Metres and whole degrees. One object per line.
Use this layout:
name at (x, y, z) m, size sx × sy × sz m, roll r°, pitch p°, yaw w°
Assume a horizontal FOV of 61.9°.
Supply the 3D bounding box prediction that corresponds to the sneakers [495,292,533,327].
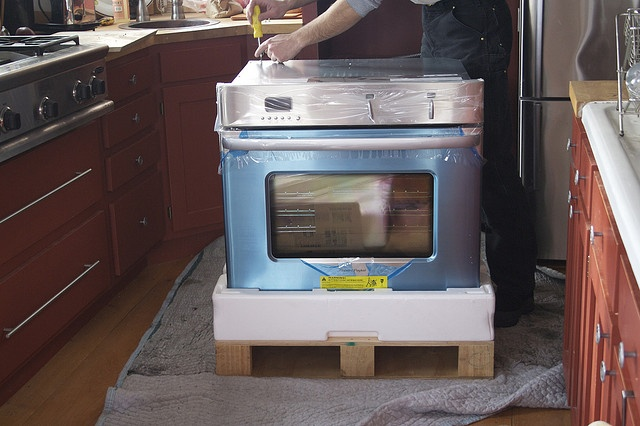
sneakers at (0.815, 0.437, 2.391) m, size 0.112 × 0.146 × 0.344 m, roll 0°, pitch -5°, yaw 9°

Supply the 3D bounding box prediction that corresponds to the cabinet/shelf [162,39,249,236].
cabinet/shelf at (-0.716, -0.420, 3.002) m, size 0.623 × 0.974 × 0.629 m, roll -2°, pitch 14°, yaw -7°

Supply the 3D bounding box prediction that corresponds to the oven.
oven at (0.138, -0.064, 2.150) m, size 0.966 × 0.754 × 0.779 m, roll 0°, pitch -2°, yaw 2°
